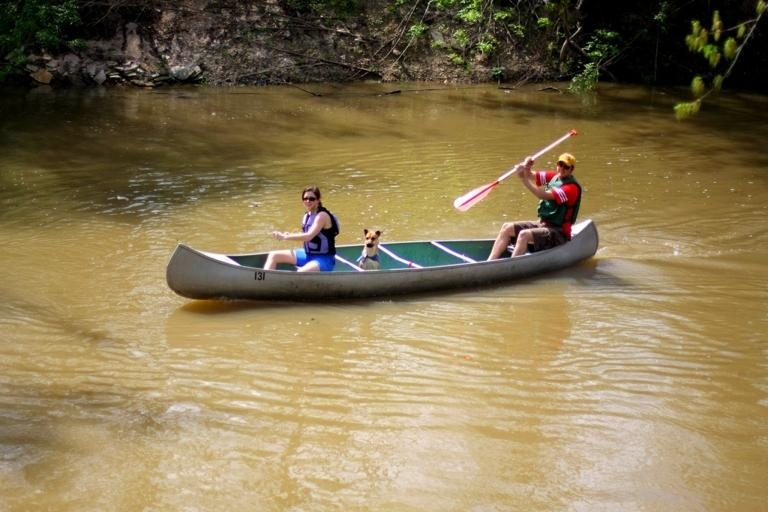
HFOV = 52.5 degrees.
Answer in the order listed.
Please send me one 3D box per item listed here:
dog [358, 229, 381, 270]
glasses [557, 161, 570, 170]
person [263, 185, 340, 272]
[{"bbox_3d":[-0.157,-0.076,10.584,0.330,0.490,0.767,2,-4,2],"label":"dog"},{"bbox_3d":[2.458,-1.234,10.650,0.132,0.109,0.034,2,11,20],"label":"glasses"},{"bbox_3d":[-1.053,-0.305,10.174,0.880,1.170,0.660,1,23,-5],"label":"person"}]
